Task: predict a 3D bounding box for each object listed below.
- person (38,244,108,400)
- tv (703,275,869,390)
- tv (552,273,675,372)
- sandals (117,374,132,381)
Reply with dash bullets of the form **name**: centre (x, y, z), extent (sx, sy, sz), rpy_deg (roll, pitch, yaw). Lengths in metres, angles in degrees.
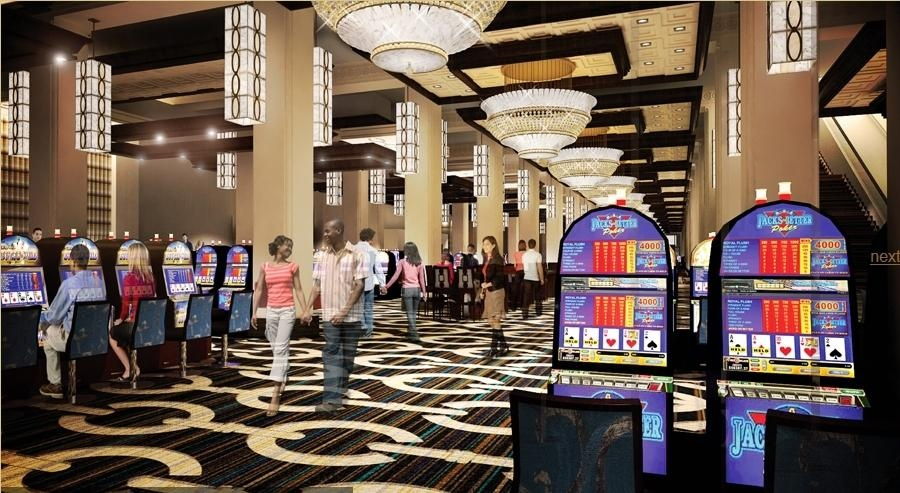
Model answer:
- **person**: centre (-4.888, 0.951, 7.819), extent (0.573, 1.834, 0.932), rpy_deg (1, 10, 1)
- **tv**: centre (3.035, 0.793, 5.453), extent (1.231, 0.909, 0.448), rpy_deg (0, -1, 9)
- **tv**: centre (1.609, 0.758, 5.764), extent (1.111, 0.823, 0.364), rpy_deg (0, -1, 11)
- **sandals**: centre (-4.490, 1.812, 8.255), extent (0.285, 0.074, 0.102), rpy_deg (-7, -7, 32)
